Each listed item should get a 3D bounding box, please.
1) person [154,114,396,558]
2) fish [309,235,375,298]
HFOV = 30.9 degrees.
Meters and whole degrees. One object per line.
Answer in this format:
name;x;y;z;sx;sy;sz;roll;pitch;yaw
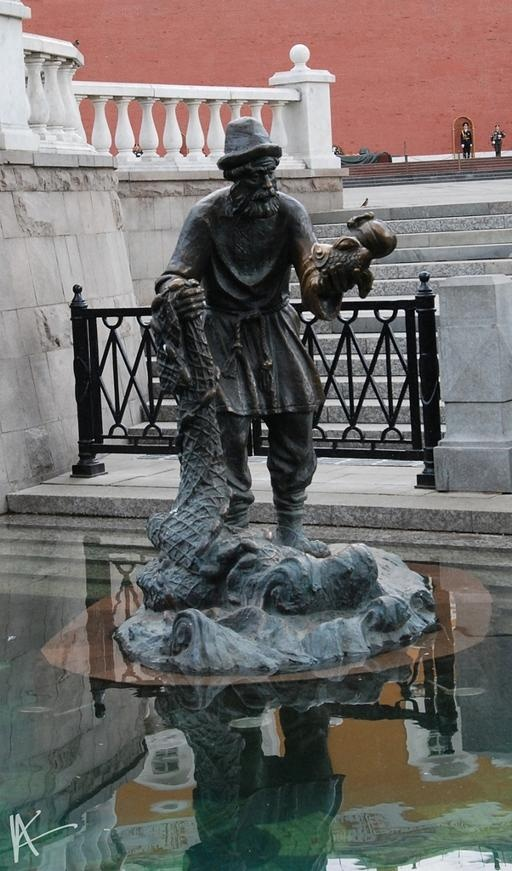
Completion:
person;-0.048;-0.312;3.594;0.643;1.724;0.529;-3;4;-6
fish;0.298;-0.607;3.276;0.226;0.216;0.167;3;9;37
